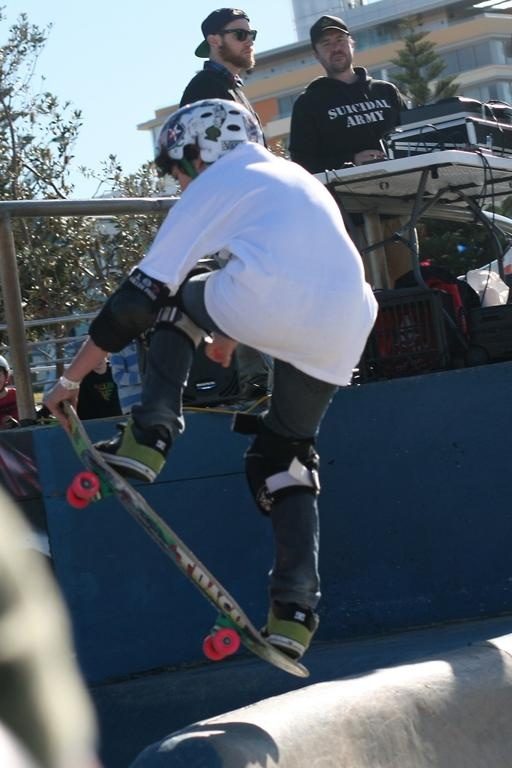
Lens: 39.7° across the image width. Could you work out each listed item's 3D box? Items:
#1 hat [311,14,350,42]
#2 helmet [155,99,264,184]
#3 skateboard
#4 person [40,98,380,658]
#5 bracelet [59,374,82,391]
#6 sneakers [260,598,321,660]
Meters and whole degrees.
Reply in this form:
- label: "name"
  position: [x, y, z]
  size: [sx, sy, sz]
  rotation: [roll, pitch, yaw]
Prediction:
- label: "hat"
  position: [0.459, -2.301, 4.637]
  size: [0.199, 0.137, 0.254]
  rotation: [-10, -7, -8]
- label: "helmet"
  position: [-0.145, -0.689, 2.054]
  size: [0.300, 0.210, 0.220]
  rotation: [3, 8, 26]
- label: "skateboard"
  position: [-0.288, 0.588, 2.518]
  size: [0.225, 1.205, 0.287]
  rotation: [-38, -8, -17]
- label: "person"
  position: [-0.070, -0.025, 2.010]
  size: [0.726, 1.507, 0.477]
  rotation: [5, 17, 25]
- label: "bracelet"
  position: [-0.531, -0.004, 2.011]
  size: [0.044, 0.026, 0.049]
  rotation: [6, 20, -27]
- label: "sneakers"
  position: [0.097, 0.671, 1.981]
  size: [0.087, 0.092, 0.229]
  rotation: [27, -2, -10]
